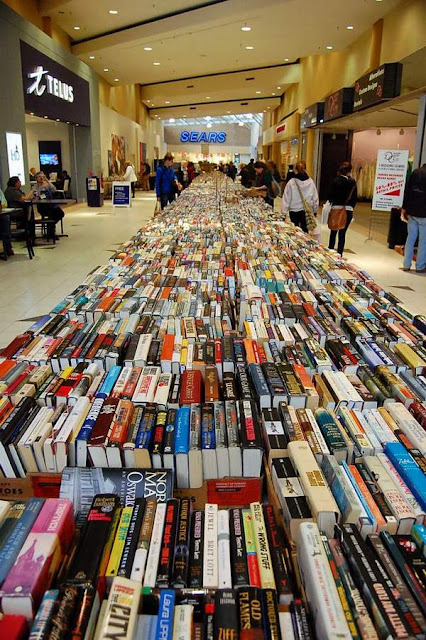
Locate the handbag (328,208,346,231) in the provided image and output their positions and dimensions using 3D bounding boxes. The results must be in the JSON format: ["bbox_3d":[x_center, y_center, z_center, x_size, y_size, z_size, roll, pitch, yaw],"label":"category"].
[{"bbox_3d":[2.149,-1.783,6.121,0.303,0.400,0.175,0,24,27],"label":"handbag"}]
